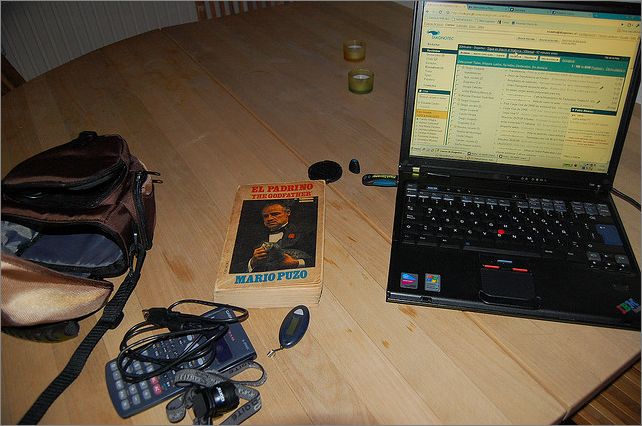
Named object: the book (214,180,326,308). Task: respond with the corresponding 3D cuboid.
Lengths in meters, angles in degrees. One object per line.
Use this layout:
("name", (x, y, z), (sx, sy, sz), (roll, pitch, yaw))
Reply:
("book", (-0.114, 0.066, 1.155), (0.242, 0.279, 0.256), (4, 12, 0))

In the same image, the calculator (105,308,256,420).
("calculator", (-0.286, 0.317, 1.004), (0.334, 0.032, 0.160), (-19, 48, -19))
